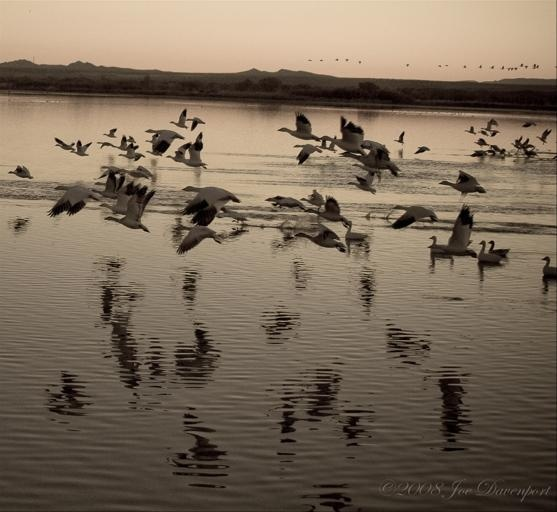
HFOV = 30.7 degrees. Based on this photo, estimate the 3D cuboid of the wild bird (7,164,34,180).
[{"bbox_3d":[-6.838,-2.234,27.420,0.729,0.234,0.681,4,-7,29],"label":"wild bird"}]
